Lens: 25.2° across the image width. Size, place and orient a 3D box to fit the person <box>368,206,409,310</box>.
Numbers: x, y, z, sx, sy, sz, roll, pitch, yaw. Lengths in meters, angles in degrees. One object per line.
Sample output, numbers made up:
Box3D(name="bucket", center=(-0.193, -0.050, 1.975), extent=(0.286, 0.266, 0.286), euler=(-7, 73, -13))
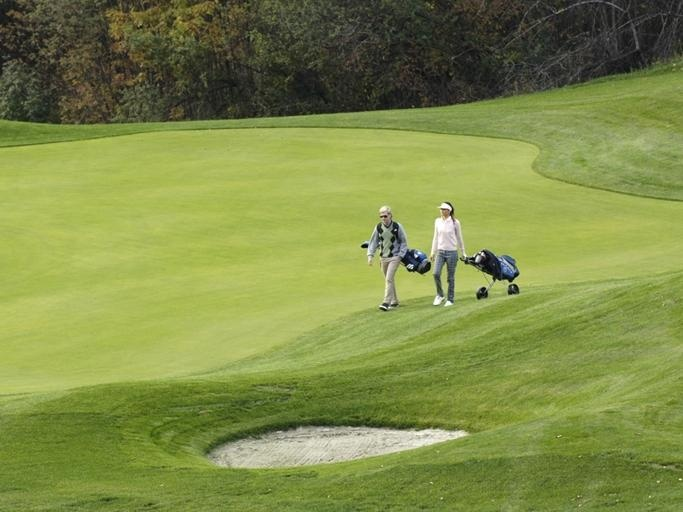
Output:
Box3D(name="person", center=(1.463, 0.075, 48.500), extent=(1.126, 3.214, 0.982), euler=(-8, 9, -30))

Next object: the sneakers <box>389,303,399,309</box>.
Box3D(name="sneakers", center=(1.668, 1.608, 48.333), extent=(0.182, 0.151, 0.389), euler=(4, 11, 44))

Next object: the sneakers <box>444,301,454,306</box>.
Box3D(name="sneakers", center=(3.334, 1.538, 47.781), extent=(0.158, 0.147, 0.375), euler=(-2, -1, 19))

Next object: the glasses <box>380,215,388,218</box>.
Box3D(name="glasses", center=(1.298, -1.214, 48.305), extent=(0.133, 0.090, 0.296), euler=(-9, 10, -35))

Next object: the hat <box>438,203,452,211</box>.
Box3D(name="hat", center=(3.277, -1.533, 48.338), extent=(0.355, 0.236, 0.616), euler=(-3, 8, 1))
